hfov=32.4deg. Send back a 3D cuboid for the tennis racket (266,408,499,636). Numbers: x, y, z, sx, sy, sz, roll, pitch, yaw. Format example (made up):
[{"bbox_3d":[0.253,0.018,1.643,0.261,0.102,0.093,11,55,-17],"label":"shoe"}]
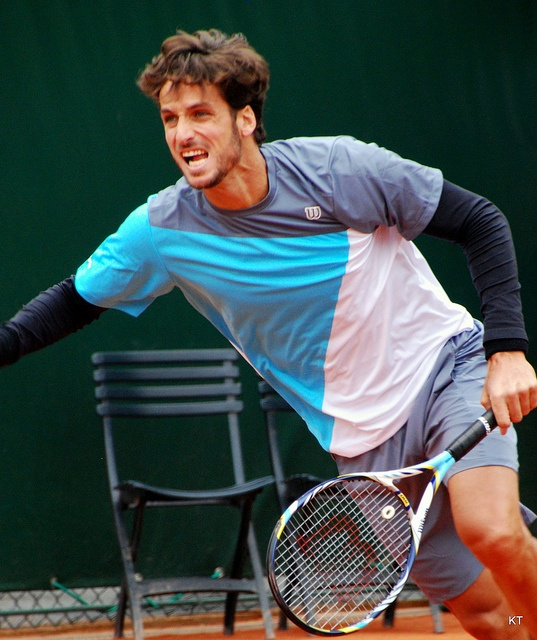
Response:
[{"bbox_3d":[0.346,0.629,2.793,1.005,0.359,0.077,-33,8,-32],"label":"tennis racket"}]
